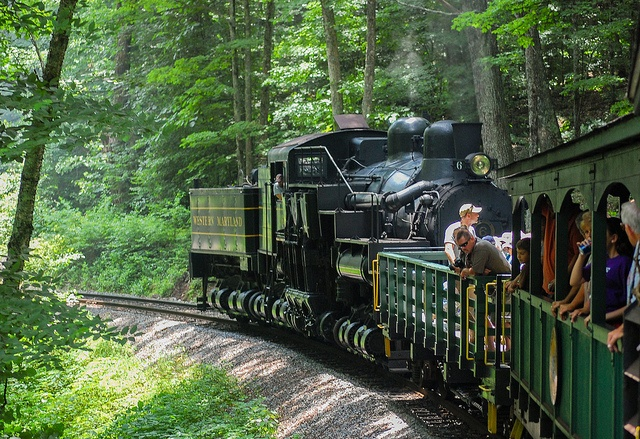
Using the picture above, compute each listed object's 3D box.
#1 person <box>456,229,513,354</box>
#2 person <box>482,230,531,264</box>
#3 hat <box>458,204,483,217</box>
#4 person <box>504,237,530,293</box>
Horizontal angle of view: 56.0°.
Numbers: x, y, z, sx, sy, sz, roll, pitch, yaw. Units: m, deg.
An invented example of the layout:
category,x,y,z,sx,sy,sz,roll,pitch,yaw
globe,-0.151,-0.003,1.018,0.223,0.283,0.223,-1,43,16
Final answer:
category,x,y,z,sx,sy,sz,roll,pitch,yaw
person,2.419,0.919,8.767,0.819,1.603,0.588,-9,3,6
person,3.418,0.481,11.010,0.587,0.297,0.818,0,1,-22
hat,2.700,-0.158,10.561,0.446,0.166,0.276,-6,3,-22
person,2.644,0.630,7.984,0.199,0.767,0.638,-4,2,-4
